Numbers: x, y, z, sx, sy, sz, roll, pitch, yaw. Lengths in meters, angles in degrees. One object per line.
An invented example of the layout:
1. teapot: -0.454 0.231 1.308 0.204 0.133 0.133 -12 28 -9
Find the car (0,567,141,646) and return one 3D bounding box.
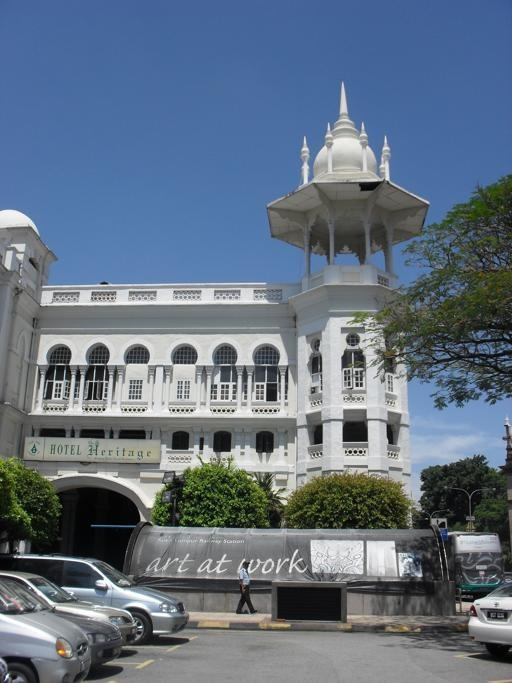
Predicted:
1. car: -3.491 4.216 10.664 2.840 0.882 1.261 1 -23 6

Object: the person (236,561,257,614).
1. person: -0.330 7.231 19.026 0.565 1.474 1.130 -1 -18 -1
